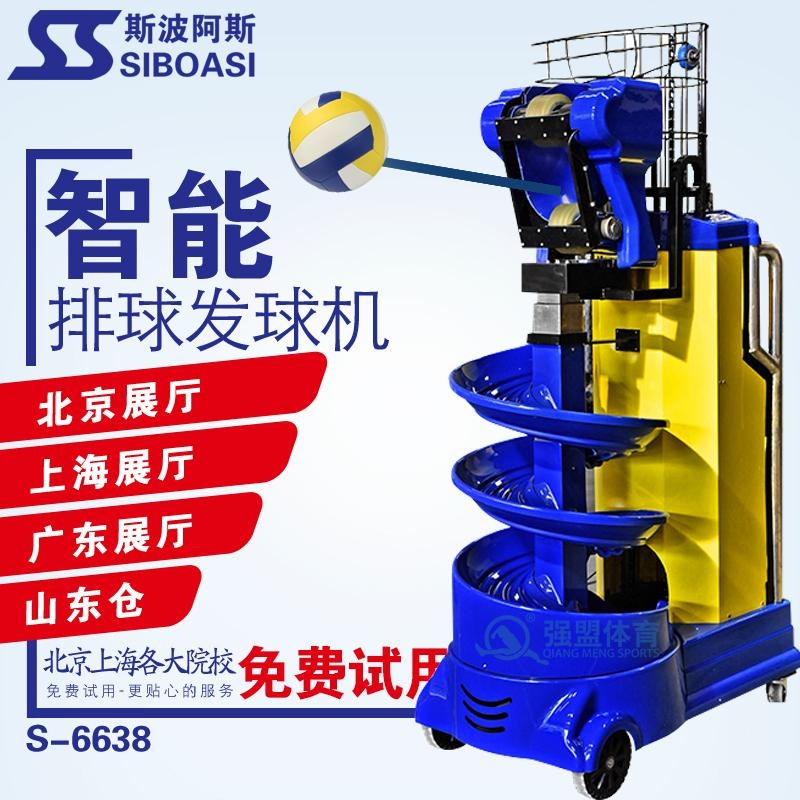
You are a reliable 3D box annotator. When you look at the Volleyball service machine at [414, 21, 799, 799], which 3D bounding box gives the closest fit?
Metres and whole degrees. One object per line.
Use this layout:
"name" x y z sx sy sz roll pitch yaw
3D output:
"Volleyball service machine" 0.674 -0.010 5.424 1.194 2.436 1.246 -4 -10 1
